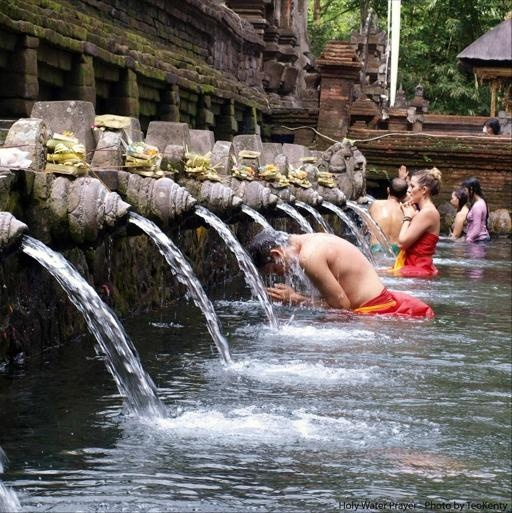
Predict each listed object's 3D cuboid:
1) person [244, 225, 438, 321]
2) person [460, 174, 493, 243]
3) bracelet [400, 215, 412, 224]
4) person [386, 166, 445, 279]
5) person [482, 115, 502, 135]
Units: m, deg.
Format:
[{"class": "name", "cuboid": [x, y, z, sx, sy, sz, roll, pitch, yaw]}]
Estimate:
[{"class": "person", "cuboid": [0.720, 0.167, 6.726, 1.529, 0.669, 0.671, 4, 8, 6]}, {"class": "person", "cuboid": [3.678, -0.747, 13.501, 0.420, 1.067, 0.793, 3, 7, 17]}, {"class": "bracelet", "cuboid": [1.634, -0.390, 8.744, 0.090, 0.078, 0.145, 2, 7, 9]}, {"class": "person", "cuboid": [1.762, -0.342, 8.876, 0.543, 1.316, 0.726, 2, 19, 6]}, {"class": "person", "cuboid": [5.638, -3.038, 19.376, 0.330, 0.434, 1.954, 3, 7, 15]}]
